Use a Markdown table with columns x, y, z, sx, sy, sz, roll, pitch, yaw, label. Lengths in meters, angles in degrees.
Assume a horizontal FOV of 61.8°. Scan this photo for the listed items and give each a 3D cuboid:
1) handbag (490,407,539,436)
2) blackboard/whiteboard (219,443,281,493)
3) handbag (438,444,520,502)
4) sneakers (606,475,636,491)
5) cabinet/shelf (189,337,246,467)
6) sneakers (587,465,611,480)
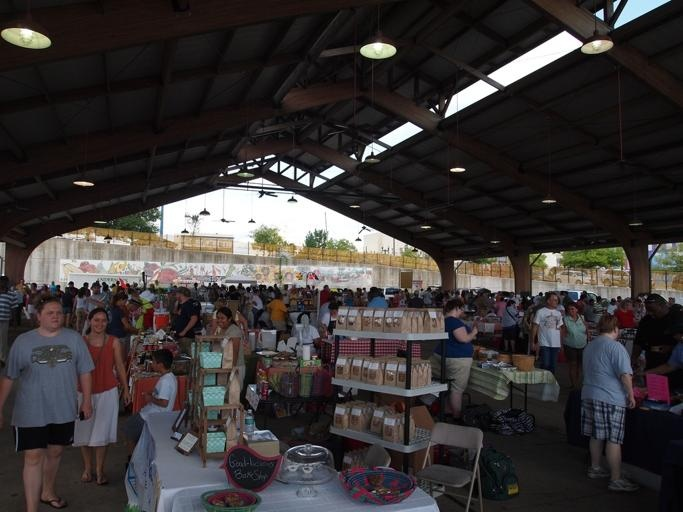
| x | y | z | sx | sy | sz | roll | pitch | yaw | label |
| --- | --- | --- | --- | --- | --- | --- | --- | --- | --- |
| 2.186 | 2.155 | 7.385 | 0.445 | 0.226 | 0.343 | 2 | -5 | -6 | handbag |
| -0.703 | 1.619 | 4.281 | 0.311 | 0.237 | 0.021 | 11 | -25 | -7 | blackboard/whiteboard |
| 1.423 | 2.357 | 6.120 | 0.692 | 0.656 | 0.472 | -19 | -23 | 37 | handbag |
| 2.986 | 2.476 | 6.149 | 0.306 | 0.145 | 0.121 | 1 | -8 | -3 | sneakers |
| -1.017 | 1.214 | 4.587 | 0.295 | 0.816 | 0.850 | 2 | -8 | -17 | cabinet/shelf |
| 2.875 | 2.454 | 6.418 | 0.267 | 0.126 | 0.107 | 0 | -4 | -16 | sneakers |
